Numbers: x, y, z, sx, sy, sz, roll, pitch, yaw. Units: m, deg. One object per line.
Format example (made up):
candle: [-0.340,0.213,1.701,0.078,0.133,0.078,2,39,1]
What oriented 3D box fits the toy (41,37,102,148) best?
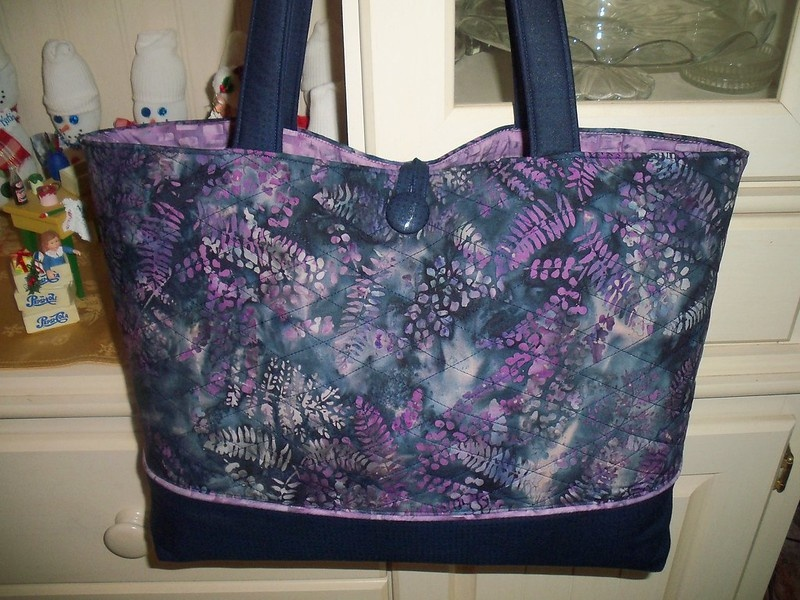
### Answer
toy: [-0.530,-0.331,1.432,0.079,0.167,0.071,-8,39,-27]

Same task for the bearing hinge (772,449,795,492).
bearing hinge: [0.551,0.243,1.264,0.027,0.076,0.012,-12,26,-27]
